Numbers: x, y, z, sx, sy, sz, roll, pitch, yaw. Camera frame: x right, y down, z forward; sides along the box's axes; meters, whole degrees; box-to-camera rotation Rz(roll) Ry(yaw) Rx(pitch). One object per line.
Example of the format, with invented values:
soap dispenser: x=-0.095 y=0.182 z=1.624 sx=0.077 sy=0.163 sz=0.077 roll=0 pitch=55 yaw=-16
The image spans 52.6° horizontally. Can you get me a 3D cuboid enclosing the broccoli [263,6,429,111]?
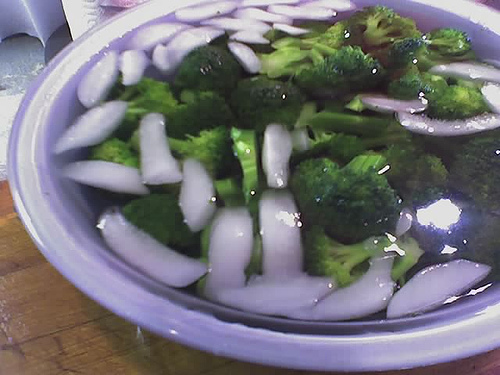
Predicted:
broccoli: x=0.208 y=-0.302 z=1.176 sx=0.307 sy=0.147 sz=0.251 roll=24 pitch=44 yaw=17

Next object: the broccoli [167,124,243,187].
broccoli: x=-0.097 y=-0.067 z=1.066 sx=0.121 sy=0.049 sz=0.143 roll=-18 pitch=77 yaw=-2

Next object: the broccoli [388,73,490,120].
broccoli: x=0.412 y=-0.229 z=1.200 sx=0.201 sy=0.311 sz=0.072 roll=2 pitch=90 yaw=18

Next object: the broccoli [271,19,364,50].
broccoli: x=0.169 y=-0.360 z=1.230 sx=0.158 sy=0.055 sz=0.100 roll=-7 pitch=28 yaw=11

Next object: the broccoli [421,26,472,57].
broccoli: x=0.476 y=-0.346 z=1.211 sx=0.080 sy=0.036 sz=0.098 roll=24 pitch=50 yaw=24

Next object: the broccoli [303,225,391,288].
broccoli: x=0.173 y=0.145 z=1.053 sx=0.103 sy=0.136 sz=0.052 roll=-23 pitch=83 yaw=16

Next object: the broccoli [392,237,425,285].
broccoli: x=0.308 y=0.143 z=1.002 sx=0.057 sy=0.023 sz=0.090 roll=24 pitch=85 yaw=1

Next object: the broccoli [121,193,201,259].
broccoli: x=-0.207 y=0.050 z=1.123 sx=0.159 sy=0.268 sz=0.062 roll=12 pitch=103 yaw=-18

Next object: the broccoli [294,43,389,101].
broccoli: x=0.195 y=-0.251 z=1.128 sx=0.139 sy=0.075 sz=0.167 roll=-35 pitch=61 yaw=-18

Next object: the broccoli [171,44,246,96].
broccoli: x=-0.095 y=-0.287 z=1.097 sx=0.126 sy=0.037 sz=0.124 roll=29 pitch=71 yaw=21

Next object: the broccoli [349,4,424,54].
broccoli: x=0.339 y=-0.379 z=1.265 sx=0.148 sy=0.051 sz=0.129 roll=-7 pitch=47 yaw=-27

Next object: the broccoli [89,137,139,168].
broccoli: x=-0.296 y=-0.076 z=1.113 sx=0.105 sy=0.080 sz=0.045 roll=20 pitch=105 yaw=43

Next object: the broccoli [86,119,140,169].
broccoli: x=-0.317 y=-0.082 z=1.123 sx=0.136 sy=0.100 sz=0.045 roll=-34 pitch=108 yaw=-29

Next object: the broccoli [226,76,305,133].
broccoli: x=0.009 y=-0.176 z=1.132 sx=0.169 sy=0.234 sz=0.051 roll=3 pitch=64 yaw=2
